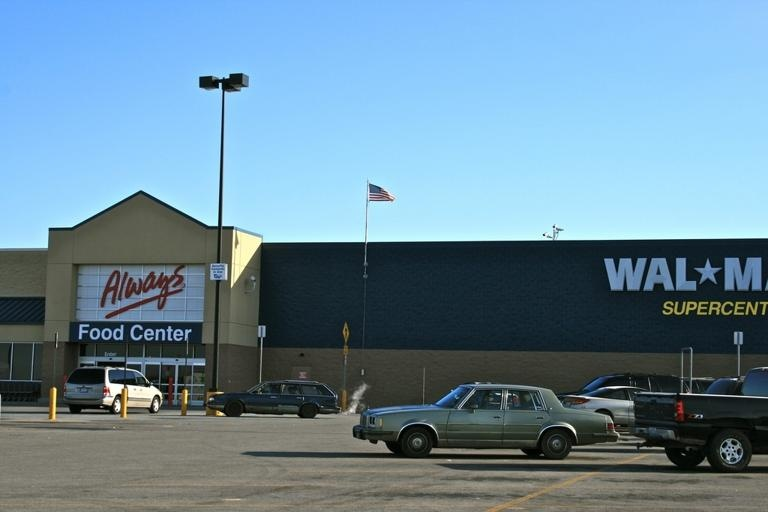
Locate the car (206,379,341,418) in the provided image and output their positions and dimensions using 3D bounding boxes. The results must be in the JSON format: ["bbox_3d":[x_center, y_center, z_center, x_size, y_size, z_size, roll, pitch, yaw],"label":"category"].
[{"bbox_3d":[-4.950,6.487,52.487,5.411,1.390,2.102,2,-7,-3],"label":"car"}]

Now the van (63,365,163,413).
[{"bbox_3d":[-11.988,6.005,52.687,2.082,1.423,4.088,-2,-2,32],"label":"van"}]
